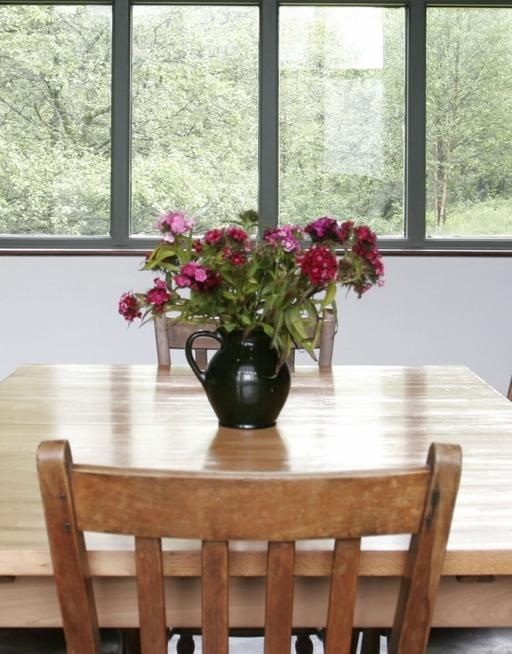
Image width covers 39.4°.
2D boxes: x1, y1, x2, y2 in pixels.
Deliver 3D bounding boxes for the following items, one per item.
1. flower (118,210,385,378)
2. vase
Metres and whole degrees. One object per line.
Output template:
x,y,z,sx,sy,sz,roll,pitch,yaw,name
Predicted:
-0.010,-0.058,1.110,0.336,0.246,0.323,-4,15,-26,flower
-0.030,0.084,1.191,0.182,0.150,0.136,3,-3,-6,vase
